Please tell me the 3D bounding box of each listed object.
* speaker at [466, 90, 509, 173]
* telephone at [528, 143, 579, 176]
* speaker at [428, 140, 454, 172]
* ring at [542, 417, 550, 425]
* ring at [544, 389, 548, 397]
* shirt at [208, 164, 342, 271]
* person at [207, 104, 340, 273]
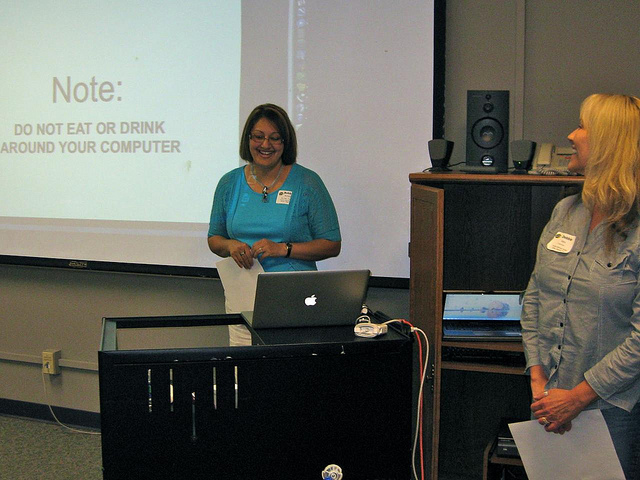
[{"bbox_3d":[0.848,-0.556,3.172,0.203,0.410,0.068,0,7,14],"label":"speaker"},{"bbox_3d":[1.090,-0.388,2.913,0.163,0.094,0.243,2,35,15],"label":"telephone"},{"bbox_3d":[0.593,-0.406,3.070,0.131,0.145,0.128,5,-2,-33],"label":"speaker"},{"bbox_3d":[0.860,0.686,2.376,0.005,0.021,0.022,-42,-7,12],"label":"ring"},{"bbox_3d":[0.872,0.587,2.409,0.005,0.016,0.014,9,-5,-7],"label":"ring"},{"bbox_3d":[-0.257,-0.134,3.227,0.662,0.597,0.380,2,5,8],"label":"shirt"},{"bbox_3d":[-0.237,-0.277,3.008,0.664,0.769,0.469,-2,7,-2],"label":"person"}]
